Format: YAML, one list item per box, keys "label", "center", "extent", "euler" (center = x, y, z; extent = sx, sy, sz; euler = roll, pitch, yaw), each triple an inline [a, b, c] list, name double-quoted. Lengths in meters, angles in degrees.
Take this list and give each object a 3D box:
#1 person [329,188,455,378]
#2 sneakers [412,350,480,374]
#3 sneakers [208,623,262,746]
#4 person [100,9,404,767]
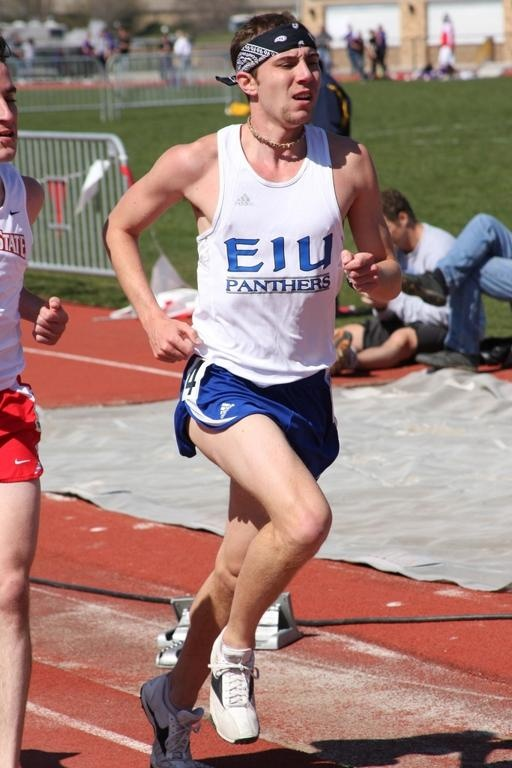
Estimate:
- label: "person"
  center: [1.005, -0.780, 7.365]
  extent: [1.174, 1.165, 0.847]
  euler: [-17, 12, -22]
- label: "sneakers"
  center: [1.346, -0.165, 6.839]
  extent: [0.364, 0.125, 0.168]
  euler: [6, 3, -5]
- label: "sneakers"
  center: [-0.064, 0.705, 2.305]
  extent: [0.119, 0.125, 0.271]
  euler: [0, 45, -10]
- label: "person"
  center: [-0.043, -0.075, 2.436]
  extent: [0.778, 1.720, 0.850]
  euler: [1, 14, 8]
